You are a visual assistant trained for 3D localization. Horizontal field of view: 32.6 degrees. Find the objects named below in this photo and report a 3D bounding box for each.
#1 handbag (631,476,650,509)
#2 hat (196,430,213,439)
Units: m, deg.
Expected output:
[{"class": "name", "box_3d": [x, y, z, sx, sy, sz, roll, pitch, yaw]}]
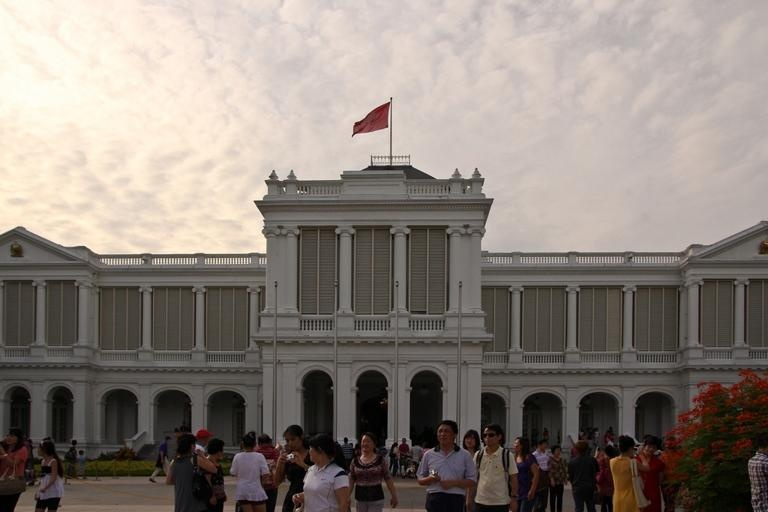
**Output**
[{"class": "handbag", "box_3d": [10.212, 9.518, 52.838, 0.671, 1.263, 0.286, 12, -19, -37]}, {"class": "hat", "box_3d": [-7.469, 7.460, 54.715, 0.454, 0.360, 0.731, 12, 6, 34]}]
